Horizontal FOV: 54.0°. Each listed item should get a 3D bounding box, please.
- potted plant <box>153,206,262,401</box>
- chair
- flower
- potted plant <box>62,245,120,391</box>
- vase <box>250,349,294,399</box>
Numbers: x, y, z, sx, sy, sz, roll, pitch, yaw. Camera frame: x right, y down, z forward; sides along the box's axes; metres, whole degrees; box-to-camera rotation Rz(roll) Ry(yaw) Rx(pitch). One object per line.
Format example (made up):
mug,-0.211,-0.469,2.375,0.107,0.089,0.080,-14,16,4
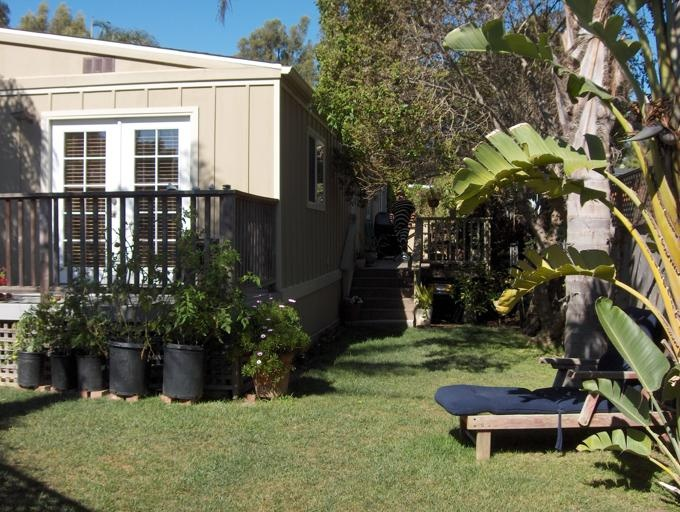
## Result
potted plant,-1.685,0.582,8.287,1.198,2.530,0.826,-1,7,-20
chair,2.259,1.339,7.436,2.052,1.348,1.594,0,-4,5
flower,-0.804,1.057,8.567,0.851,1.212,0.963,-3,7,-33
potted plant,-3.232,0.987,8.499,0.455,1.420,0.608,-8,8,14
vase,-0.876,1.518,8.604,0.537,0.427,0.548,-5,-4,39
